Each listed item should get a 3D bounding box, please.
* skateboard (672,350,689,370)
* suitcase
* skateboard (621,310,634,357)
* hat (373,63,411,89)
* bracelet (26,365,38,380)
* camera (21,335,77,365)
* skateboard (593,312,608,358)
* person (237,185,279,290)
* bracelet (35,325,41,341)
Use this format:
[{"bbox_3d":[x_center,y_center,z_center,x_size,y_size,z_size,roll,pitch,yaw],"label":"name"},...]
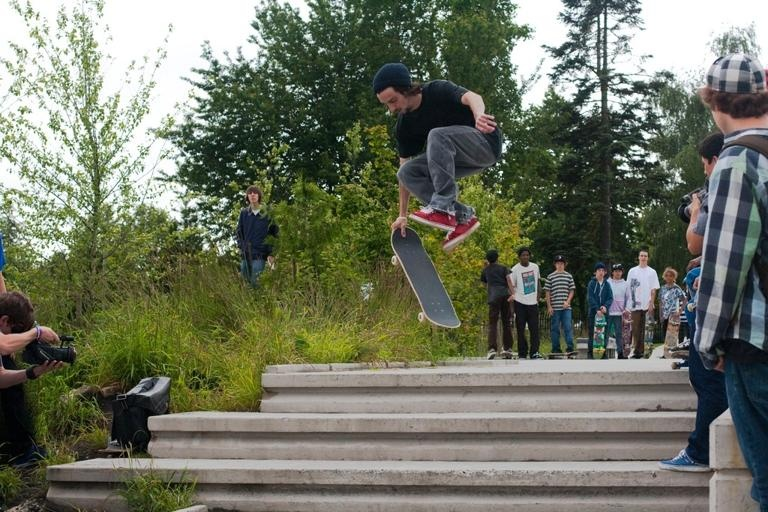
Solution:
[{"bbox_3d":[4.120,1.435,14.080,0.284,0.265,0.185,-3,-1,24],"label":"skateboard"},{"bbox_3d":[-3.366,2.135,14.524,0.797,0.919,1.397,4,5,6],"label":"suitcase"},{"bbox_3d":[4.920,1.541,20.557,0.234,0.894,0.131,2,-3,-23],"label":"skateboard"},{"bbox_3d":[0.121,-2.579,14.668,0.438,0.276,0.425,-8,13,-30],"label":"hat"},{"bbox_3d":[-4.771,1.588,13.776,0.150,0.153,0.178,6,-14,-31],"label":"bracelet"},{"bbox_3d":[-4.495,1.291,13.937,0.902,0.534,0.331,1,2,-9],"label":"camera"},{"bbox_3d":[4.403,1.594,20.733,0.267,0.998,0.158,2,1,0],"label":"skateboard"},{"bbox_3d":[-2.337,-0.380,18.940,0.602,1.890,0.985,3,-6,-37],"label":"person"},{"bbox_3d":[-4.702,1.029,13.873,0.083,0.142,0.035,-2,-7,15],"label":"bracelet"}]
